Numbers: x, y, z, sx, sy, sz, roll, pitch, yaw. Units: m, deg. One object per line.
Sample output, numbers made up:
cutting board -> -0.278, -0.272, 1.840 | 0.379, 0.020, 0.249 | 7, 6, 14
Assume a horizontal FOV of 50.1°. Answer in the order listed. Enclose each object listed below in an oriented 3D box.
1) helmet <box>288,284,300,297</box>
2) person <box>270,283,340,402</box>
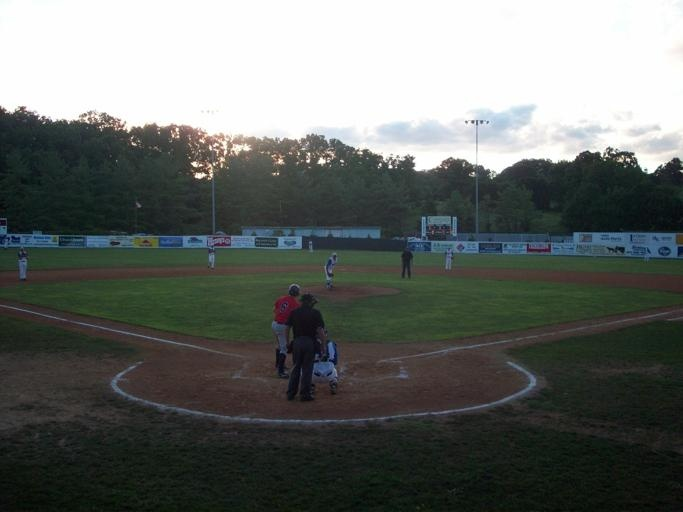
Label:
helmet -> -1.145, 0.819, 17.875 | 0.255, 0.213, 0.386 | 2, 19, -1
person -> -0.788, 2.105, 16.960 | 0.978, 2.395, 0.564 | 1, 3, 3
